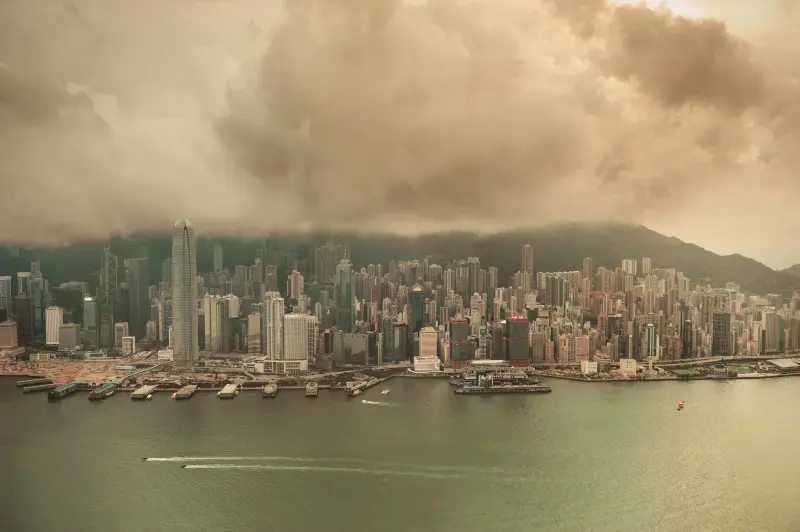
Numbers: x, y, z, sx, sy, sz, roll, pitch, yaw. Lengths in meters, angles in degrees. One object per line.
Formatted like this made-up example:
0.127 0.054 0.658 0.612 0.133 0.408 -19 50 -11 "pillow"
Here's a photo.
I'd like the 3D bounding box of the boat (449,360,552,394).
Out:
1.345 1.522 10.952 1.303 0.433 0.814 -1 -6 2 "boat"
